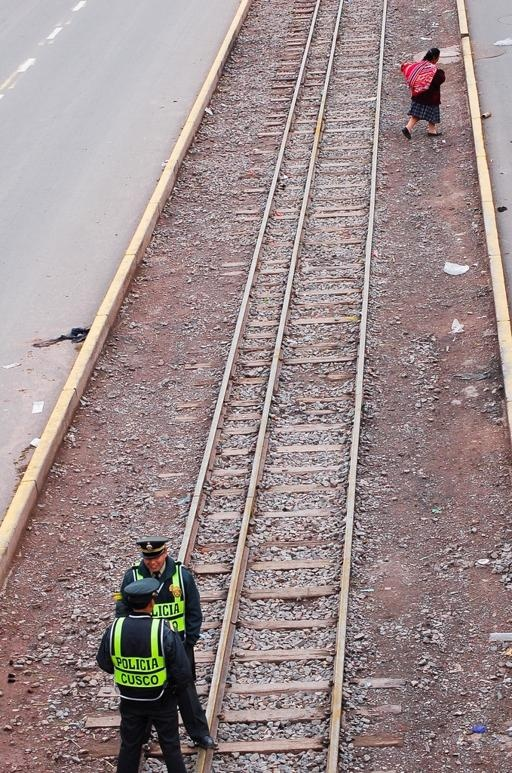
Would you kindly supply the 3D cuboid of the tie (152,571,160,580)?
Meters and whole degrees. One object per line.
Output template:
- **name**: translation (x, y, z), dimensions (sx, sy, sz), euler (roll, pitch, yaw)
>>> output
- **tie**: translation (-0.731, 1.365, 8.496), dimensions (0.046, 0.013, 0.044), euler (12, 66, 7)

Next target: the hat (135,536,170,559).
- **hat**: translation (-0.749, 1.139, 8.440), dimensions (0.201, 0.184, 0.185), euler (-16, 30, -8)

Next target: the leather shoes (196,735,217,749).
- **leather shoes**: translation (-0.379, 2.663, 8.823), dimensions (0.176, 0.071, 0.074), euler (-2, 26, 7)

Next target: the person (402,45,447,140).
- **person**: translation (2.269, -4.027, 16.312), dimensions (0.648, 1.255, 0.831), euler (-8, 30, 9)

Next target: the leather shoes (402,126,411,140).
- **leather shoes**: translation (2.081, -3.532, 16.430), dimensions (0.092, 0.219, 0.075), euler (-6, 68, 13)

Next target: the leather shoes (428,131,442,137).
- **leather shoes**: translation (2.522, -3.571, 16.620), dimensions (0.154, 0.055, 0.078), euler (1, 49, -3)
